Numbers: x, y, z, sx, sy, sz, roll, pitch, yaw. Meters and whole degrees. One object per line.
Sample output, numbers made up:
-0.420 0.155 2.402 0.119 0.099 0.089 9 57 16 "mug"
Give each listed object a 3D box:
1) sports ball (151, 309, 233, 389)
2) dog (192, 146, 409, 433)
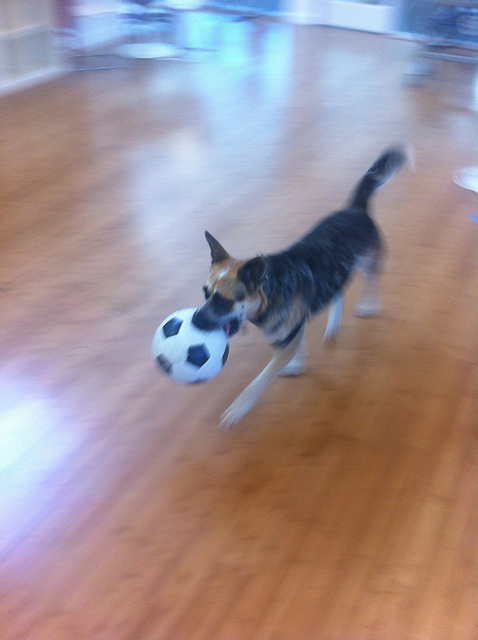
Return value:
-0.057 0.027 0.884 0.127 0.140 0.115 -7 72 -38 "sports ball"
0.051 -0.008 1.110 0.374 0.583 0.405 -23 39 -32 "dog"
